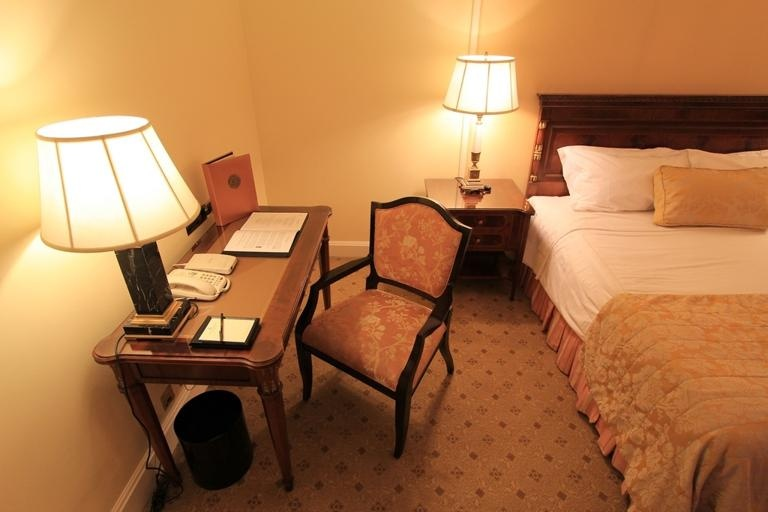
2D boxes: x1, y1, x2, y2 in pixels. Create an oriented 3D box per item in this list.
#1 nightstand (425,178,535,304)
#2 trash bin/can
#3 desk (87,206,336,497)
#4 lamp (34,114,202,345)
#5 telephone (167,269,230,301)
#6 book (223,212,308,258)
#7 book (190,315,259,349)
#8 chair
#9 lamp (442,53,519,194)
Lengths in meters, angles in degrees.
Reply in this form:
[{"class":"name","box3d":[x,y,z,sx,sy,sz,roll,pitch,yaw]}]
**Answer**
[{"class":"nightstand","box3d":[0.664,-0.208,4.472,0.927,0.910,0.872,0,40,2]},{"class":"trash bin/can","box3d":[-0.889,1.036,3.178,0.528,0.571,0.511,-5,36,-7]},{"class":"desk","box3d":[-0.718,0.874,3.599,1.228,1.343,1.971,2,36,3]},{"class":"lamp","box3d":[-1.219,-0.099,2.522,0.669,1.060,0.394,-8,24,-19]},{"class":"telephone","box3d":[-0.997,0.160,2.877,0.259,0.076,0.177,6,37,-3]},{"class":"book","box3d":[-0.719,-0.121,3.244,0.280,0.042,0.392,5,39,4]},{"class":"book","box3d":[-0.798,0.412,2.704,0.306,0.073,0.332,5,18,4]},{"class":"chair","box3d":[-0.009,0.369,3.320,0.948,1.317,0.925,13,35,16]},{"class":"lamp","box3d":[0.717,-0.977,3.992,0.520,1.015,0.419,3,23,7]}]
